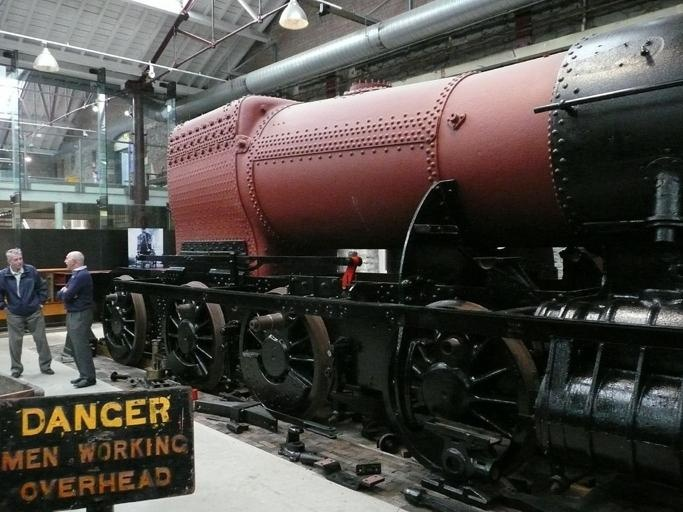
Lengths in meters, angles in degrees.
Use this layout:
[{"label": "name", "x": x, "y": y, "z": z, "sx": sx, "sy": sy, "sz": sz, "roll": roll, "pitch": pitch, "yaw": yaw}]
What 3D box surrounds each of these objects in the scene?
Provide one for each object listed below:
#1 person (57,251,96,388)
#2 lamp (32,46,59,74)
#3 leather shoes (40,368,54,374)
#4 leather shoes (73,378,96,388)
[{"label": "person", "x": -3.549, "y": 0.854, "z": 6.969, "sx": 0.407, "sy": 1.792, "sz": 0.444, "roll": -4, "pitch": 3, "yaw": -26}, {"label": "lamp", "x": -6.544, "y": -4.400, "z": 11.438, "sx": 0.424, "sy": 0.486, "sz": 0.570, "roll": -4, "pitch": 4, "yaw": -27}, {"label": "leather shoes", "x": -4.346, "y": 1.712, "z": 7.656, "sx": 0.230, "sy": 0.086, "sz": 0.077, "roll": -7, "pitch": -8, "yaw": 37}, {"label": "leather shoes", "x": -3.434, "y": 1.707, "z": 6.953, "sx": 0.196, "sy": 0.064, "sz": 0.142, "roll": 7, "pitch": -7, "yaw": -40}]
